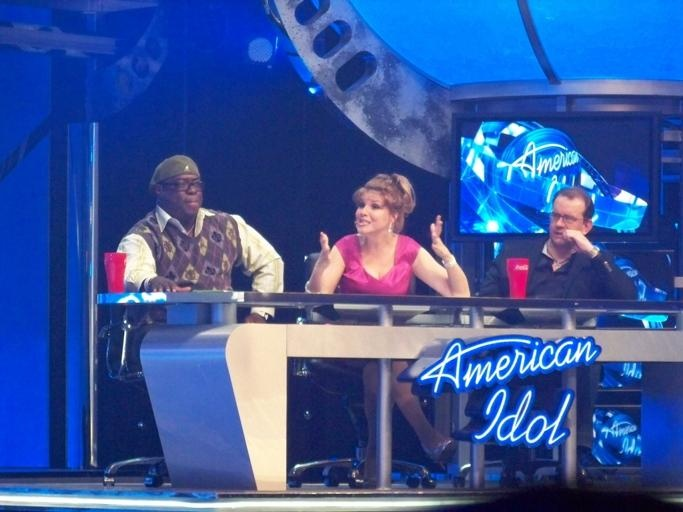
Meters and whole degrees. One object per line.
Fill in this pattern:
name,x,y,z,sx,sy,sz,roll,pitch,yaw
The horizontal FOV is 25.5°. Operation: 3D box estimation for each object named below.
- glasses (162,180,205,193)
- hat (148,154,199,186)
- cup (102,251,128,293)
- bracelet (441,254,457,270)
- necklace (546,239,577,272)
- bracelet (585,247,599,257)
glasses,-1.008,-0.438,9.619,0.263,0.083,0.085,-2,-3,-8
hat,-1.077,-0.545,9.646,0.254,0.115,0.208,-29,-17,38
cup,-1.239,0.093,8.308,0.102,0.227,0.148,-2,-3,-8
bracelet,0.627,0.025,8.790,0.073,0.069,0.091,-1,-1,7
necklace,1.341,-0.036,9.253,0.156,0.199,0.131,18,40,11
bracelet,1.494,-0.016,8.943,0.071,0.048,0.071,-47,11,36
